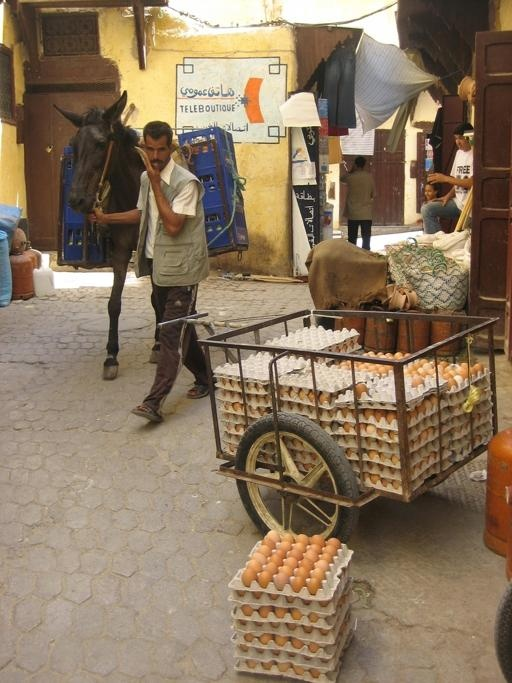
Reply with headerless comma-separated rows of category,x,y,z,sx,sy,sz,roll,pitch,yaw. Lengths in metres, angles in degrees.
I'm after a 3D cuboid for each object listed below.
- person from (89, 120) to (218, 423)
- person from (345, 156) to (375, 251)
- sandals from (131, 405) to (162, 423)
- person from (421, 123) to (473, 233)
person,-0.629,-0.366,4.142,0.780,2.217,0.795,5,19,5
person,2.197,-3.009,12.465,0.619,1.998,0.750,-1,11,13
sandals,-0.731,0.501,3.968,0.112,0.238,0.092,-13,56,27
person,2.572,-2.046,7.592,0.657,1.747,0.684,-2,18,-9
